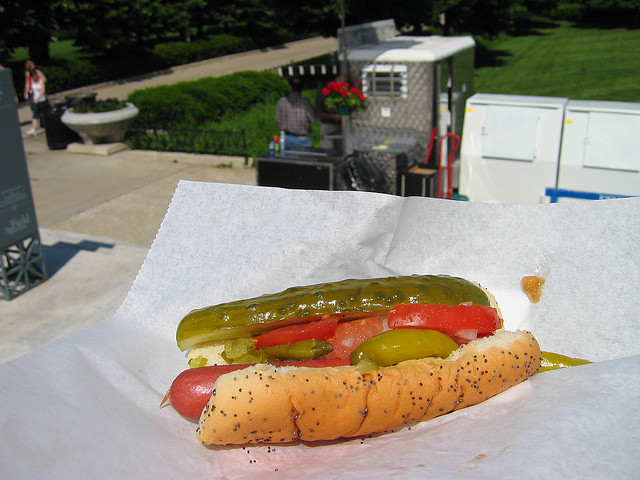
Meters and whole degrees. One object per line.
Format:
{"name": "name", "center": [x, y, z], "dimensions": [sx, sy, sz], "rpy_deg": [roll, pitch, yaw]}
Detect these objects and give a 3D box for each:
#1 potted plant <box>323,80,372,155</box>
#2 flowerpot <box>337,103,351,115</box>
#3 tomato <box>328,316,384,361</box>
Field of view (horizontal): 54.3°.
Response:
{"name": "potted plant", "center": [0.407, -2.038, 10.387], "dimensions": [0.634, 1.175, 0.720], "rpy_deg": [15, 24, 31]}
{"name": "flowerpot", "center": [0.392, -2.160, 10.238], "dimensions": [0.218, 0.204, 0.183], "rpy_deg": [-6, 23, 1]}
{"name": "tomato", "center": [0.230, 0.663, 4.347], "dimensions": [0.381, 0.217, 0.175], "rpy_deg": [-25, -8, -7]}
